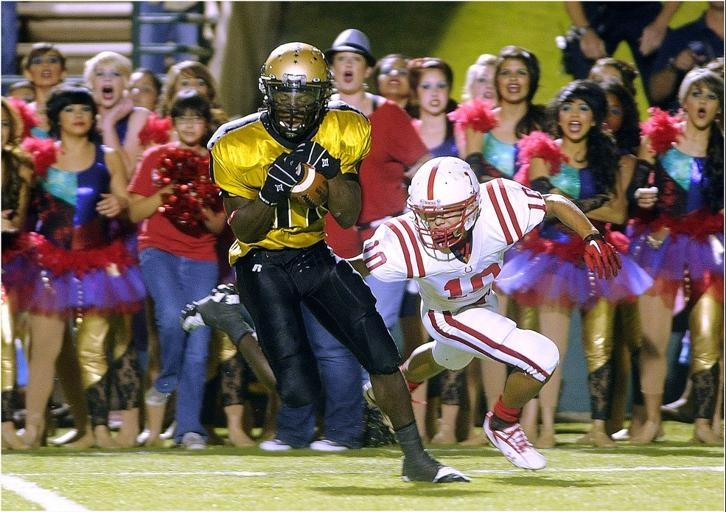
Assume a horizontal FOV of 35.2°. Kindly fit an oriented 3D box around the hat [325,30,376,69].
[{"bbox_3d":[-0.085,-1.435,7.687,0.251,0.111,0.274,12,11,25],"label":"hat"}]

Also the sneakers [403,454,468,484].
[{"bbox_3d":[0.348,1.138,6.151,0.414,0.184,0.131,-3,0,5],"label":"sneakers"}]

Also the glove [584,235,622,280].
[{"bbox_3d":[1.292,0.003,6.213,0.205,0.244,0.233,1,-1,22],"label":"glove"}]

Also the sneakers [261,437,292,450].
[{"bbox_3d":[-0.540,1.138,6.945,0.149,0.047,0.071,0,4,12],"label":"sneakers"}]

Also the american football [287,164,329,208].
[{"bbox_3d":[-0.286,-0.370,5.926,0.146,0.127,0.219,15,1,19],"label":"american football"}]

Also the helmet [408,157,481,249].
[{"bbox_3d":[0.418,-0.233,6.261,0.484,0.432,0.571,-3,-20,18],"label":"helmet"}]

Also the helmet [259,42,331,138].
[{"bbox_3d":[-0.373,-0.909,6.186,0.434,0.395,0.462,4,18,-2],"label":"helmet"}]

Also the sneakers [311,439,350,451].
[{"bbox_3d":[-0.218,1.145,6.958,0.183,0.049,0.081,2,-1,7],"label":"sneakers"}]

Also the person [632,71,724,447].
[{"bbox_3d":[1.969,-0.013,7.298,0.593,2.366,0.313,1,-1,11],"label":"person"}]

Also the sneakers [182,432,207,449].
[{"bbox_3d":[-1.038,1.127,7.020,0.146,0.069,0.124,1,0,-8],"label":"sneakers"}]
